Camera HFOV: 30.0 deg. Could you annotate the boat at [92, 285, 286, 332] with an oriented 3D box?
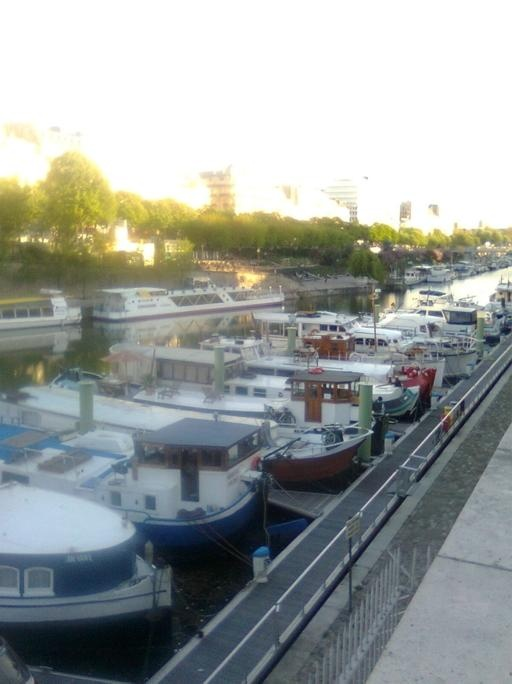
[{"bbox_3d":[-5.285,-2.461,73.109,2.465,2.358,15.963,14,17,42],"label":"boat"}]
